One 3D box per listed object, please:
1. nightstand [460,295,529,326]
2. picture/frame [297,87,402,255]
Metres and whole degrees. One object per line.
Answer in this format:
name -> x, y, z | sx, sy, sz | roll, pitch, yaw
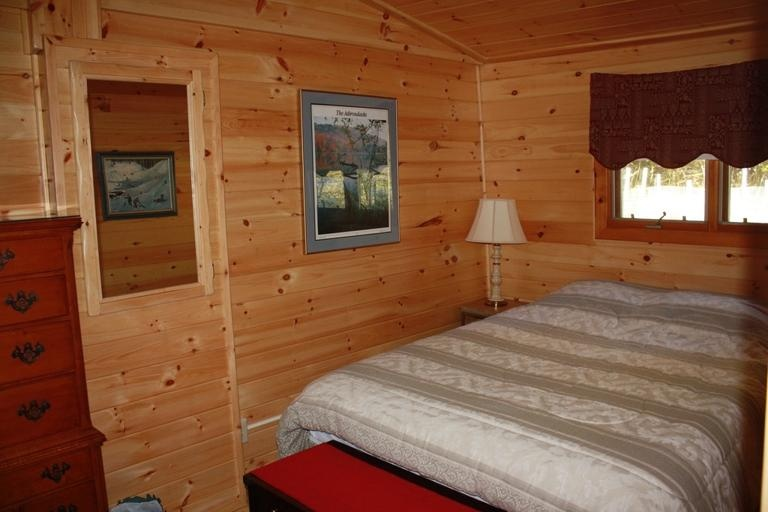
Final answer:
nightstand -> 0.901, 0.432, 4.488 | 0.375, 0.266, 0.363 | -17, 22, -38
picture/frame -> -0.232, -0.596, 3.850 | 0.218, 1.104, 0.878 | 8, 14, 40
